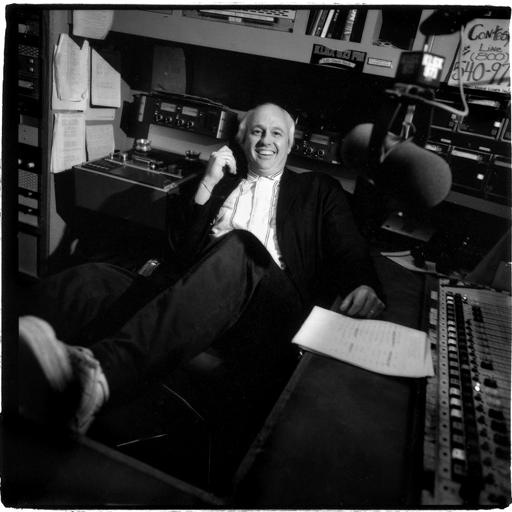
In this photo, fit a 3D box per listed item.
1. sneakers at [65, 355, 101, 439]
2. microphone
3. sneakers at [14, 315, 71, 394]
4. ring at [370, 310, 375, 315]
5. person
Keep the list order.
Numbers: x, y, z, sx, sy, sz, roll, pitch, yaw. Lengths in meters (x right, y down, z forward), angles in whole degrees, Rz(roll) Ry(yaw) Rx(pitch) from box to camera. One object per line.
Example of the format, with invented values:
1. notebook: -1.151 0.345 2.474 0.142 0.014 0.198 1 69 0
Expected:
1. sneakers: -0.456 0.366 1.175 0.060 0.195 0.131 6 -5 23
2. microphone: 0.285 -0.210 0.858 0.195 0.195 0.146 6 18 -20
3. sneakers: -0.582 0.261 1.253 0.256 0.107 0.057 60 -7 6
4. ring: 0.291 0.140 1.093 0.008 0.010 0.009 0 3 -4
5. person: -0.088 0.036 1.224 0.597 0.723 0.974 21 34 37
